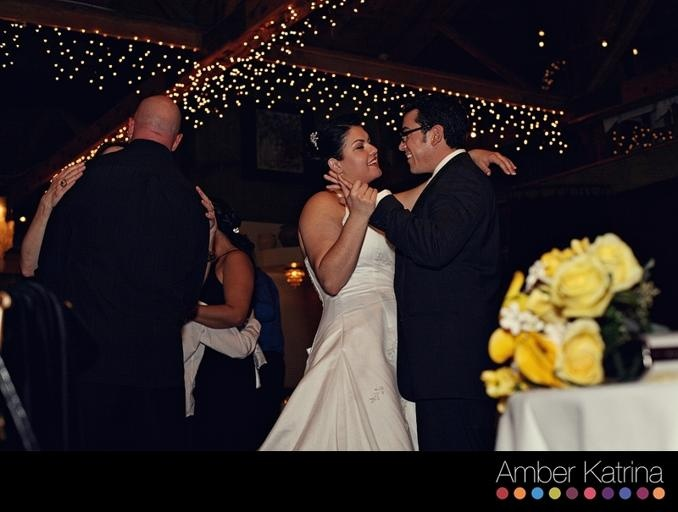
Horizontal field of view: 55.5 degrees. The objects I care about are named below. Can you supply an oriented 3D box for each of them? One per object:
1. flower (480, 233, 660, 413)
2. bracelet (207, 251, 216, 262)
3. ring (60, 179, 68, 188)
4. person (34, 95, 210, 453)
[{"bbox_3d":[0.834,0.153,2.382,0.475,0.707,0.659,2,-12,-5],"label":"flower"},{"bbox_3d":[-0.672,0.005,3.396,0.043,0.067,0.032,2,7,9],"label":"bracelet"},{"bbox_3d":[-1.244,-0.328,2.895,0.029,0.031,0.009,15,-4,7],"label":"ring"},{"bbox_3d":[-0.973,0.084,2.960,0.737,1.648,0.418,-1,8,-28],"label":"person"}]
